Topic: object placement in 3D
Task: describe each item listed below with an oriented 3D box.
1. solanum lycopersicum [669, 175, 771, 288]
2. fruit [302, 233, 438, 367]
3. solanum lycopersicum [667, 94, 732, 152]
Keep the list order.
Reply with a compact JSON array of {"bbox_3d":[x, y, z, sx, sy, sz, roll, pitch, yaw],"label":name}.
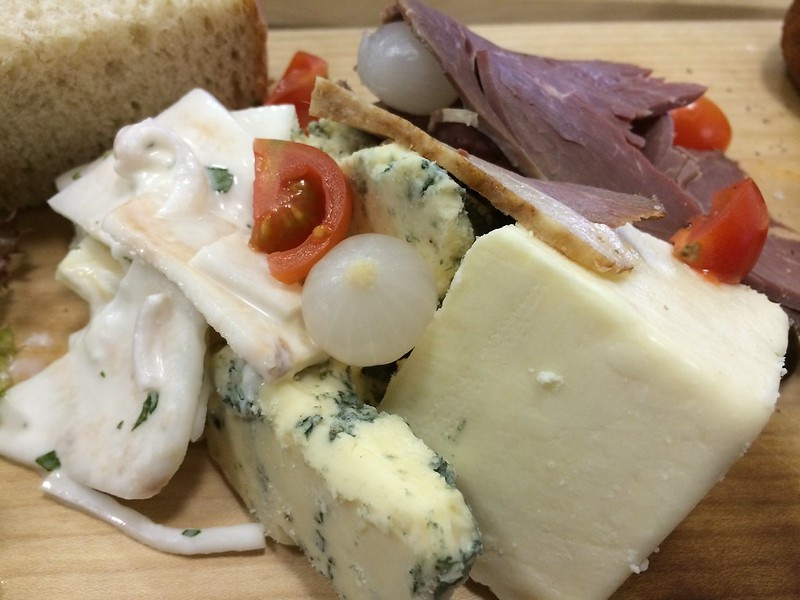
[{"bbox_3d":[0.704,-0.156,2.325,0.174,0.123,0.233,31,70,16],"label":"solanum lycopersicum"},{"bbox_3d":[-0.067,-0.005,2.210,0.269,0.142,0.243,-41,69,-15],"label":"fruit"},{"bbox_3d":[0.805,-0.471,2.930,0.173,0.219,0.162,-2,95,35],"label":"solanum lycopersicum"}]
